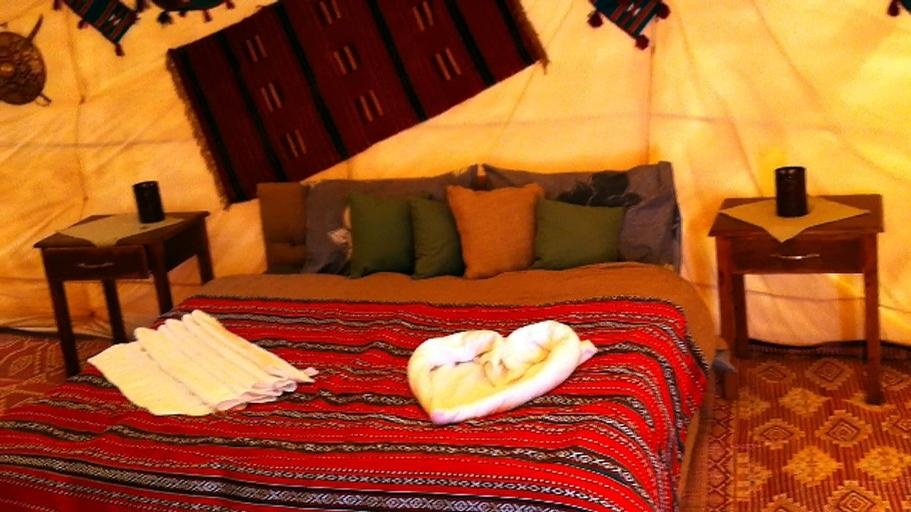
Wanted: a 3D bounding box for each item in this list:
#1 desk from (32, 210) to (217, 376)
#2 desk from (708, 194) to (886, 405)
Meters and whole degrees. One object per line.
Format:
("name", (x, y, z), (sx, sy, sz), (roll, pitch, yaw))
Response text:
("desk", (-2.191, 0.234, 4.793), (0.803, 0.888, 0.591), (-4, 23, 0))
("desk", (1.928, 0.237, 4.015), (1.167, 1.093, 0.719), (-2, 43, 24))
